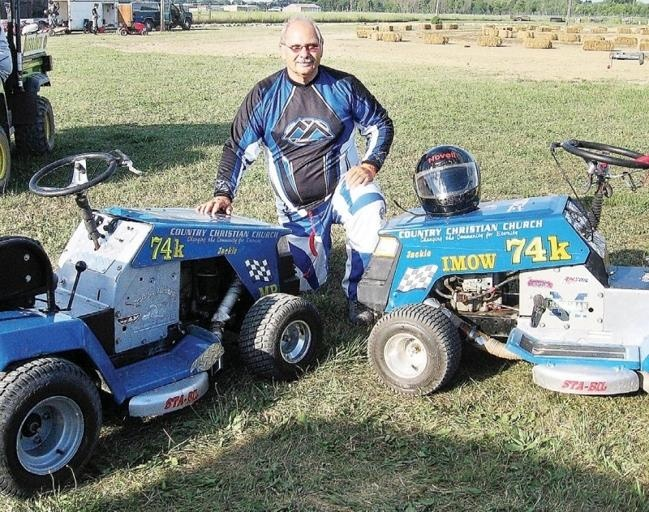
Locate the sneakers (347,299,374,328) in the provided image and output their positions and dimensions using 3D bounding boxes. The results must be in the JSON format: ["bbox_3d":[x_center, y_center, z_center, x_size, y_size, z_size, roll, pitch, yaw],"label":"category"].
[{"bbox_3d":[0.225,0.455,5.002,0.090,0.209,0.262,-12,8,-31],"label":"sneakers"}]

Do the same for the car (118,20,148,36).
[{"bbox_3d":[-11.051,-13.079,38.053,1.548,0.877,1.053,-9,20,-20],"label":"car"}]

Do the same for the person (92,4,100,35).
[{"bbox_3d":[-13.556,-14.055,38.851,0.482,1.591,1.628,-7,22,-17],"label":"person"}]

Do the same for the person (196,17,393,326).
[{"bbox_3d":[-0.093,-0.695,5.454,1.278,2.477,1.079,-2,39,5],"label":"person"}]

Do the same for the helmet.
[{"bbox_3d":[0.837,-0.529,4.486,0.363,0.403,0.483,-5,14,13],"label":"helmet"}]

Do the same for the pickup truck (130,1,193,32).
[{"bbox_3d":[-10.477,-15.454,42.372,1.950,1.364,2.884,20,30,40],"label":"pickup truck"}]
